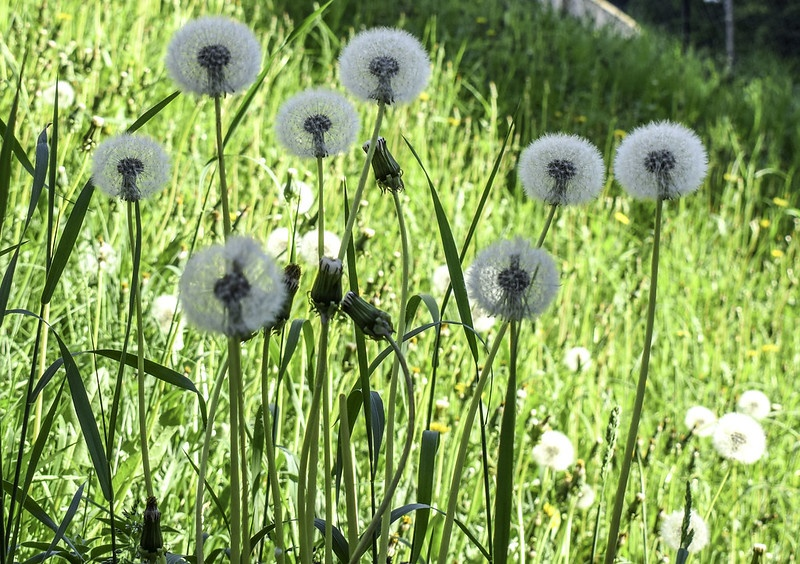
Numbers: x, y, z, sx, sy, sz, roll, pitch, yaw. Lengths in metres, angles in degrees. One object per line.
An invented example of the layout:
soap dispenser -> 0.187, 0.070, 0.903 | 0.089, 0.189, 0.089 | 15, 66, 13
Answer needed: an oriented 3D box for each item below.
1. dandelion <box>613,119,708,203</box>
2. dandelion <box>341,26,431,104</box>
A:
dandelion -> 1.046, -0.494, 4.091 | 0.254, 0.338, 0.282 | -4, -51, 8
dandelion -> -0.039, -0.841, 4.117 | 0.284, 0.402, 0.140 | -5, -33, 19
